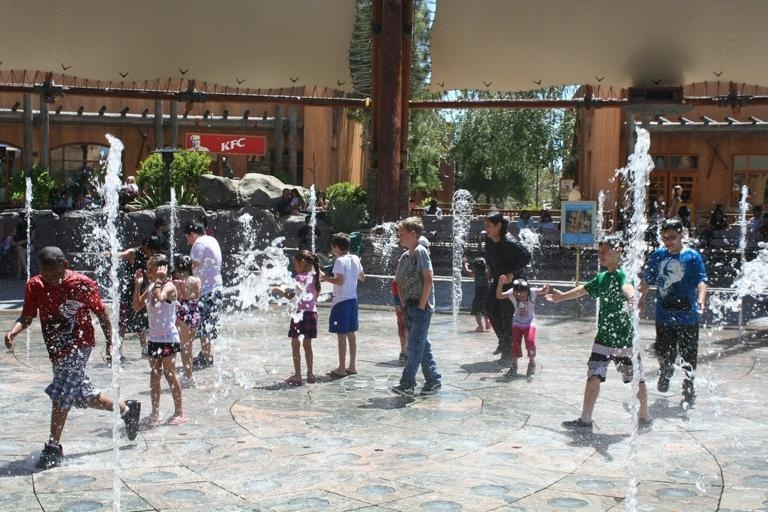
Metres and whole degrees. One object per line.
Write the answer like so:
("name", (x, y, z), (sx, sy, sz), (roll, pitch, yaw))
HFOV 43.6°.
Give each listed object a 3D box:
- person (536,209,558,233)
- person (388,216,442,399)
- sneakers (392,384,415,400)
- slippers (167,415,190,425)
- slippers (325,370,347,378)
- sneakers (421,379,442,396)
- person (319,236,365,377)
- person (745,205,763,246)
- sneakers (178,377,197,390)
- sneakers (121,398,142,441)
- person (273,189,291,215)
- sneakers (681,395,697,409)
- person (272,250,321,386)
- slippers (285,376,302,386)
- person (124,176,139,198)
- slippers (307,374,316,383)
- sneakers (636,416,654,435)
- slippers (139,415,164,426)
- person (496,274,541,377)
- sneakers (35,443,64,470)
("person", (5.143, -1.037, 30.286), (0.686, 0.805, 0.783), (-3, -18, 8))
("person", (0.528, 0.769, 15.032), (0.708, 2.740, 0.886), (0, 3, 3))
("sneakers", (0.297, 2.104, 14.815), (0.206, 0.105, 0.272), (-1, 8, -43))
("slippers", (-2.984, 2.378, 13.823), (0.289, 0.108, 0.165), (-1, 3, -11))
("slippers", (-0.782, 1.942, 15.594), (0.244, 0.082, 0.141), (7, 0, 3))
("sneakers", (0.735, 2.063, 14.969), (0.344, 0.173, 0.149), (-26, 11, 4))
("person", (-0.663, 0.803, 15.458), (0.609, 2.347, 0.893), (0, 3, 5))
("person", (10.791, -0.828, 27.877), (0.456, 1.192, 1.410), (1, 3, 20))
("sneakers", (-3.109, 2.017, 15.106), (0.318, 0.144, 0.119), (12, 11, 32))
("sneakers", (-3.471, 2.231, 13.215), (0.278, 0.643, 0.205), (-10, 10, -44))
("person", (-3.059, -1.620, 28.835), (0.472, 0.789, 0.685), (-2, 3, -37))
("sneakers", (4.640, 2.221, 14.529), (0.140, 0.081, 0.234), (-4, 2, -3))
("person", (-1.328, 0.977, 15.413), (0.603, 2.137, 0.854), (0, 3, -5))
("slippers", (-1.441, 1.989, 15.263), (0.227, 0.096, 0.131), (5, 0, 13))
("person", (-7.966, -2.171, 30.265), (0.416, 0.643, 1.370), (-1, 3, -15))
("slippers", (-1.176, 1.982, 15.417), (0.122, 0.194, 0.119), (2, -6, -15))
("sneakers", (3.770, 2.449, 13.835), (0.213, 0.222, 0.171), (-1, -1, 18))
("slippers", (-3.329, 2.371, 13.802), (0.388, 0.118, 0.191), (0, 3, 9))
("person", (2.198, 1.154, 15.711), (0.710, 1.665, 1.182), (0, 3, 6))
("sneakers", (-4.466, 2.686, 12.770), (0.167, 0.215, 0.466), (2, -8, -8))
